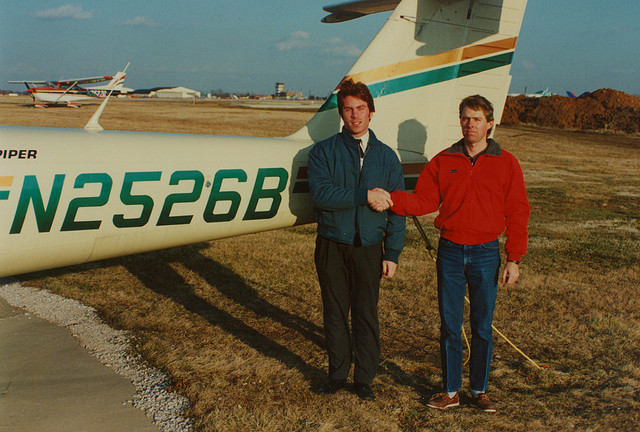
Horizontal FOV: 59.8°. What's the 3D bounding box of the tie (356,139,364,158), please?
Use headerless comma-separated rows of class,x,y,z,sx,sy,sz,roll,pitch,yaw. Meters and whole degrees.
tie,0.411,-0.693,5.763,0.048,0.196,0.060,-9,11,1

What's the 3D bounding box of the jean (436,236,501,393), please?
jean,1.507,1.010,5.742,0.685,1.714,0.478,3,5,23
